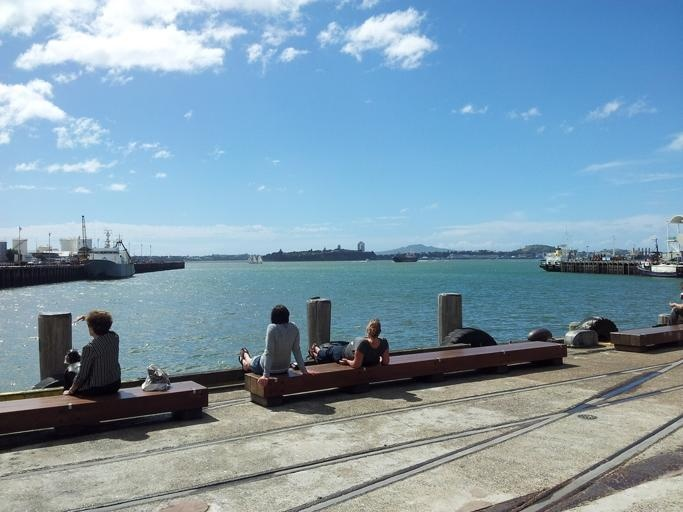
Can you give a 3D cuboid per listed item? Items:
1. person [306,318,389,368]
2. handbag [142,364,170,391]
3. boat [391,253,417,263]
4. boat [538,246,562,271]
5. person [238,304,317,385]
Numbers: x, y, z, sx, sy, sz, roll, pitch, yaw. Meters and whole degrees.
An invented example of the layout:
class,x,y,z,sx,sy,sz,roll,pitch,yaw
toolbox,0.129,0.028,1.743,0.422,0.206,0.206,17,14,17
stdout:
class,x,y,z,sx,sy,sz,roll,pitch,yaw
person,0.093,1.715,9.690,0.773,0.850,1.701,5,-3,-33
handbag,-2.886,1.853,7.566,0.468,0.409,0.362,0,1,-24
boat,39.740,1.337,305.804,14.502,4.850,7.720,-1,2,-41
boat,62.973,1.516,145.262,7.131,3.925,10.358,1,3,18
person,-1.157,1.506,8.782,1.034,1.084,1.556,0,2,-23
